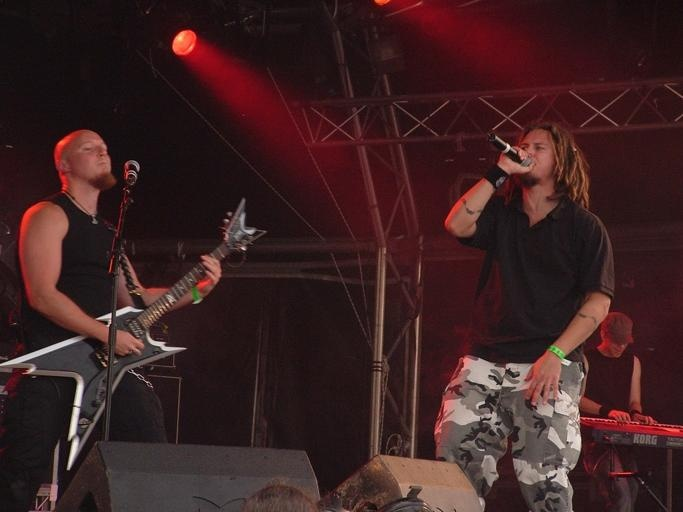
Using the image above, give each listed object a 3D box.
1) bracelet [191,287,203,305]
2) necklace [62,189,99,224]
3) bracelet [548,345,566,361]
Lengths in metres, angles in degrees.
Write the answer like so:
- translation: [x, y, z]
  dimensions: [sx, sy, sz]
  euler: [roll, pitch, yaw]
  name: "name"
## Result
- translation: [-1.010, 0.282, 5.325]
  dimensions: [0.086, 0.109, 0.040]
  euler: [-1, 0, -7]
  name: "bracelet"
- translation: [-1.715, -0.316, 4.959]
  dimensions: [0.291, 0.040, 0.069]
  euler: [42, 17, -15]
  name: "necklace"
- translation: [1.220, 0.548, 4.289]
  dimensions: [0.082, 0.033, 0.080]
  euler: [58, -3, -34]
  name: "bracelet"
